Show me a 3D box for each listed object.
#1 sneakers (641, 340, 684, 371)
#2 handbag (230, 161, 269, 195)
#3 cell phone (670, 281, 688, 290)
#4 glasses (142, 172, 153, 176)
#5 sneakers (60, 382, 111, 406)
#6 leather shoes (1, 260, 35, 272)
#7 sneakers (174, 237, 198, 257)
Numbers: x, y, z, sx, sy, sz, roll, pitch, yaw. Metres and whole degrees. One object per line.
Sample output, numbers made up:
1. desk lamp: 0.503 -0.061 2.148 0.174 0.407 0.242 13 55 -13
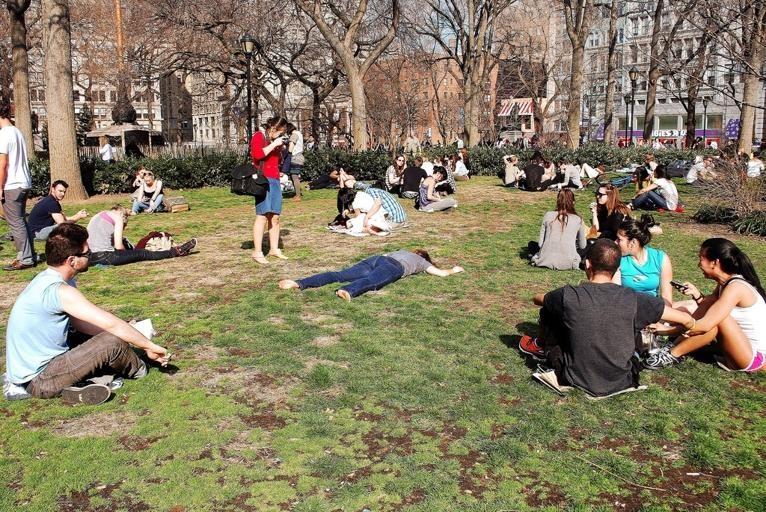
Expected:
1. sneakers: 3.489 1.278 8.051 0.571 0.256 0.206 0 21 -16
2. handbag: -2.376 -1.305 11.135 0.667 0.571 0.368 7 15 26
3. cell phone: 3.986 0.395 8.566 0.170 0.046 0.177 20 3 22
4. glasses: -6.285 -2.200 17.091 0.148 0.082 0.180 1 3 30
5. sneakers: -3.332 1.549 7.115 0.561 0.223 0.220 0 -6 3
6. leather shoes: -6.521 0.180 11.295 0.461 0.186 0.208 6 1 -31
7. sneakers: -3.733 -0.150 12.329 0.604 0.198 0.255 -21 -11 0
